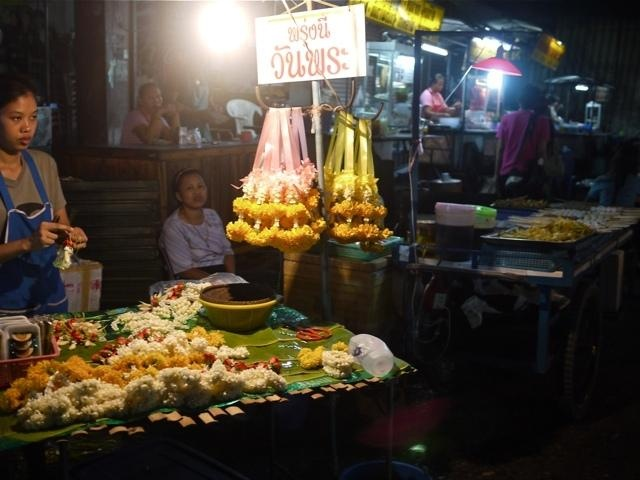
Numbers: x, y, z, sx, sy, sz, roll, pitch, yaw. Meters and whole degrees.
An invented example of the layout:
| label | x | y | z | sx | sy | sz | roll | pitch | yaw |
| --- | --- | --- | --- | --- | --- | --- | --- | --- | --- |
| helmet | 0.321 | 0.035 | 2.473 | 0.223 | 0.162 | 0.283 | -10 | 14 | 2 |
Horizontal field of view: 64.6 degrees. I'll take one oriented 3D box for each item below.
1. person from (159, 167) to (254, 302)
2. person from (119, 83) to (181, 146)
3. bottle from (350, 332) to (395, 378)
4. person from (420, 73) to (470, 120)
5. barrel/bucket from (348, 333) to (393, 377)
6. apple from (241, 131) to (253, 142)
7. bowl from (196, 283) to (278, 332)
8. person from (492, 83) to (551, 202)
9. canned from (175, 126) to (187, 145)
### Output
| label | x | y | z | sx | sy | sz | roll | pitch | yaw |
| --- | --- | --- | --- | --- | --- | --- | --- | --- | --- |
| person | -1.339 | -0.187 | 5.747 | 0.757 | 1.206 | 0.501 | -5 | 16 | -32 |
| person | -2.340 | -1.757 | 7.008 | 0.769 | 0.844 | 1.813 | -1 | 13 | -16 |
| bottle | 0.268 | 0.623 | 2.760 | 0.275 | 0.146 | 0.208 | 7 | 13 | 19 |
| person | 3.004 | -3.620 | 12.940 | 0.806 | 1.205 | 1.169 | 7 | 14 | 18 |
| barrel/bucket | 0.256 | 0.610 | 2.768 | 0.259 | 0.172 | 0.305 | 2 | 13 | -16 |
| apple | -1.059 | -1.502 | 7.379 | 0.167 | 0.100 | 0.153 | 6 | 15 | 15 |
| bowl | -0.513 | 0.422 | 3.221 | 0.477 | 0.241 | 0.362 | 0 | 13 | -11 |
| person | 3.023 | -1.443 | 7.601 | 0.769 | 1.652 | 0.487 | 10 | 15 | 25 |
| canned | -1.781 | -1.374 | 6.668 | 0.062 | 0.195 | 0.149 | 14 | 17 | 38 |
